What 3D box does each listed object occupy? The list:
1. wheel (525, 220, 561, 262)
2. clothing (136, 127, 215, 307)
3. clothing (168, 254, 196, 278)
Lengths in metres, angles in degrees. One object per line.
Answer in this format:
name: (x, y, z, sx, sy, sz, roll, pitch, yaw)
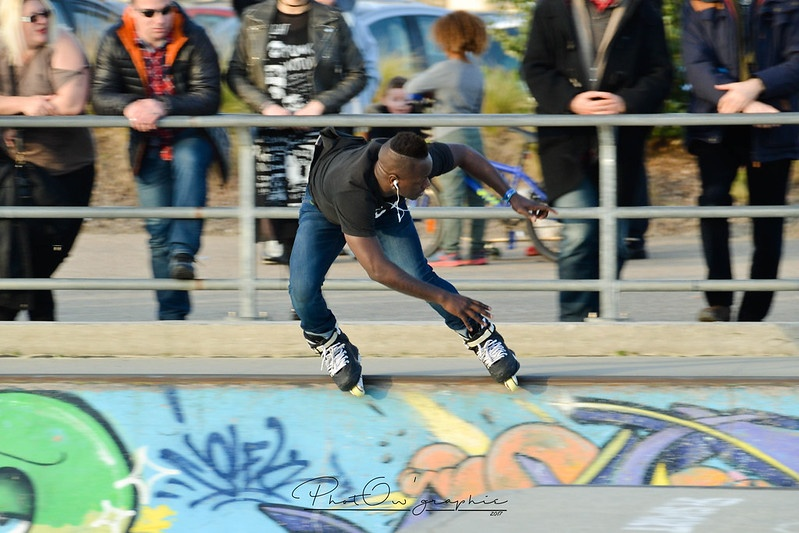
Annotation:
wheel: (1.425, -0.240, 14.010, 0.586, 0.368, 0.115, 0, -9, -21)
clothing: (-1.556, -0.334, 10.758, 0.726, 1.121, 0.436, 4, 5, 16)
clothing: (-1.539, -0.007, 10.384, 0.205, 0.182, 0.120, 2, -38, -11)
